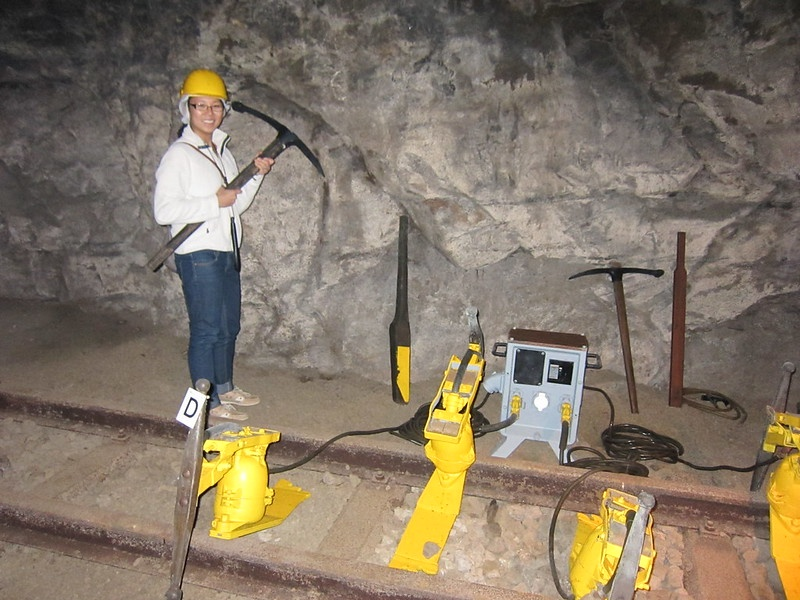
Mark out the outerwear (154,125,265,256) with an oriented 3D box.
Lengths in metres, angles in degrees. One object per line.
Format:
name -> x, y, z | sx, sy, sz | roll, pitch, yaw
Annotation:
outerwear -> -1.568, -0.940, 5.778 | 0.711, 1.252, 1.054 | 7, 7, 21

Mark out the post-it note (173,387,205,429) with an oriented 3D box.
post-it note -> -1.330, 0.699, 4.539 | 0.181, 0.256, 0.078 | 3, 5, -17

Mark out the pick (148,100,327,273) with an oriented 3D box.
pick -> -1.410, -0.891, 5.831 | 1.115, 1.676, 0.143 | 36, -13, 19

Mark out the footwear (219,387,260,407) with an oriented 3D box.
footwear -> -1.406, 0.855, 6.287 | 0.364, 0.146, 0.132 | 3, 6, -2

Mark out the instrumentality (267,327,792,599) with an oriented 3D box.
instrumentality -> 0.798, 1.058, 5.376 | 2.997, 1.703, 1.827 | 2, 5, -27

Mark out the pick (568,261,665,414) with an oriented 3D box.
pick -> 2.028, 0.295, 6.314 | 0.804, 1.324, 0.141 | -7, 1, 10

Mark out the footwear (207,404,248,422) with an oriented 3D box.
footwear -> -1.463, 0.959, 6.040 | 0.322, 0.128, 0.124 | 0, 3, 0

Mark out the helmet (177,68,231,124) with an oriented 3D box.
helmet -> -1.611, -1.669, 5.749 | 0.405, 0.491, 0.455 | -8, 41, -24
